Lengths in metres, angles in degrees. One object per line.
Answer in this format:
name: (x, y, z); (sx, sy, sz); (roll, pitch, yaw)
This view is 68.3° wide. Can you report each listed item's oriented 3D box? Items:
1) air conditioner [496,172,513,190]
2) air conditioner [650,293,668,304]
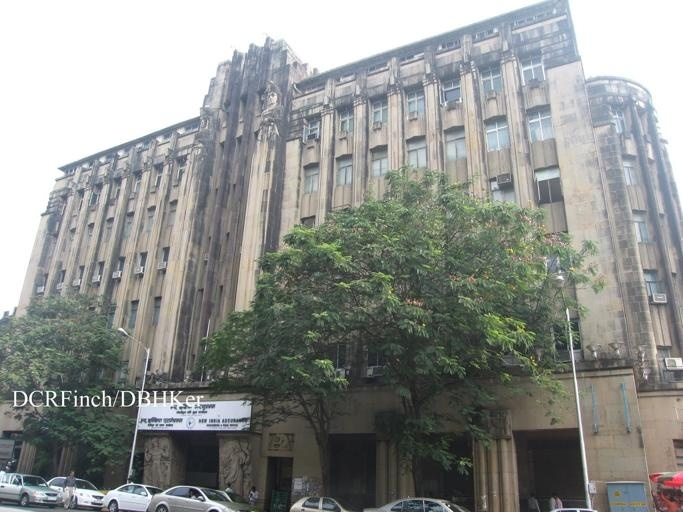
air conditioner: (10.497, -4.803, 32.331); (1.022, 0.811, 0.757); (-8, -25, 16)
air conditioner: (18.634, 2.515, 29.608); (1.059, 0.688, 0.515); (1, -22, 4)
